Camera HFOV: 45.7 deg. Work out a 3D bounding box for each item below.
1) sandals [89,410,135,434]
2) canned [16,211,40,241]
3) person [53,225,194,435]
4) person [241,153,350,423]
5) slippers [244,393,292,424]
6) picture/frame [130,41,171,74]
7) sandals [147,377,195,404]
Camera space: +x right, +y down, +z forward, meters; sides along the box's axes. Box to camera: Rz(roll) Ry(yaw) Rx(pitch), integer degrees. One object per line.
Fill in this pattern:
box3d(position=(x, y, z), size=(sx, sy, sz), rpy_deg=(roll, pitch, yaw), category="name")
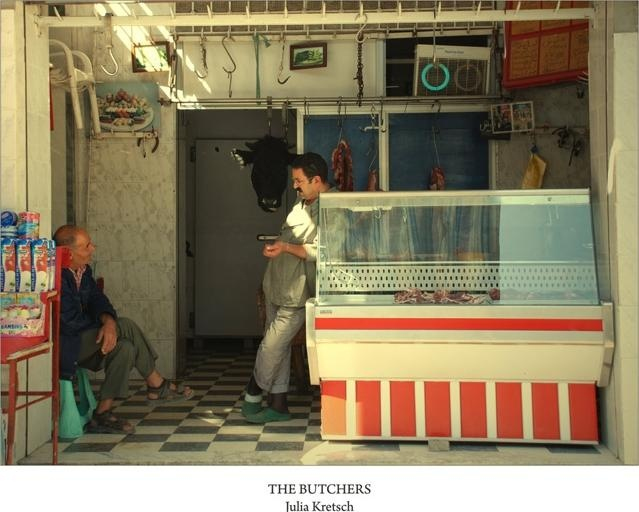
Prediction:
box3d(position=(-1.470, 1.184, 5.436), size=(0.310, 0.169, 0.141), rpy_deg=(1, 0, -5), category="sandals")
box3d(position=(-1.851, -0.188, 4.827), size=(0.149, 0.184, 0.148), rpy_deg=(5, -6, -40), category="canned")
box3d(position=(-1.490, 0.510, 5.477), size=(0.757, 1.459, 0.597), rpy_deg=(-4, 9, -22), category="person")
box3d(position=(-0.254, 0.236, 5.615), size=(0.661, 1.961, 0.550), rpy_deg=(0, 8, 1), category="person")
box3d(position=(-0.393, 1.133, 5.608), size=(0.405, 0.315, 0.156), rpy_deg=(6, -13, -5), category="slippers")
box3d(position=(-1.452, -1.724, 6.571), size=(0.340, 0.258, 0.031), rpy_deg=(-1, 8, -1), category="picture/frame")
box3d(position=(-1.119, 1.000, 5.704), size=(0.339, 0.196, 0.154), rpy_deg=(-2, 6, -15), category="sandals")
